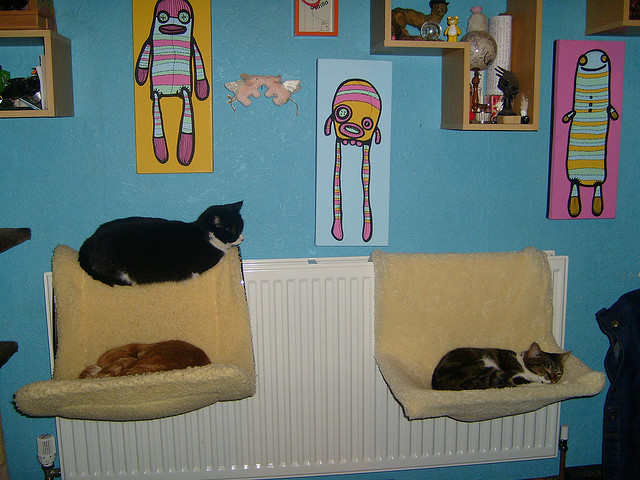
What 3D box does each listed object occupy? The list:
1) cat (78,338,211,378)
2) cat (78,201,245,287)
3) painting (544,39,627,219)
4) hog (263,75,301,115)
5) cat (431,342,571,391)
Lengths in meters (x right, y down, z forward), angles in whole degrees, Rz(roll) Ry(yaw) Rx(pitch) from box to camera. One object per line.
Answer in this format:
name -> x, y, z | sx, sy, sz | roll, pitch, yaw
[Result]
cat -> -0.611, 0.414, 2.123 | 0.288, 0.078, 0.173 | -1, -5, -7
cat -> -0.588, -0.001, 2.286 | 0.640, 0.317, 0.241 | -1, 21, -8
painting -> 1.037, -0.428, 2.363 | 0.275, 0.682, 0.069 | 0, 5, -3
hog -> -0.142, -0.558, 2.251 | 0.137, 0.120, 0.039 | 0, 5, 1
cat -> 0.638, 0.450, 2.146 | 0.370, 0.145, 0.211 | -4, -6, -10
